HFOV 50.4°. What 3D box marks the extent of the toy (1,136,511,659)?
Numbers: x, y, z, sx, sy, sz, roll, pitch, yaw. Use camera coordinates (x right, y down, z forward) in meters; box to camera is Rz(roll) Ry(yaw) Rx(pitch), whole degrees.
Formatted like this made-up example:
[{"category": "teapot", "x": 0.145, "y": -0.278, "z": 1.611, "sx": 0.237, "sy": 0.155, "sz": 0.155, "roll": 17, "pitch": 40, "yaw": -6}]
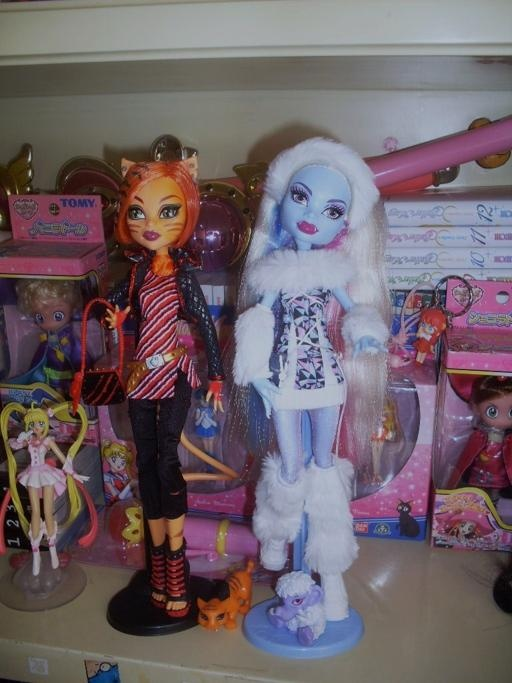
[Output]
[{"category": "toy", "x": 0.144, "y": 0.119, "z": 1.506, "sx": 1.091, "sy": 1.041, "sz": 0.599, "roll": 5, "pitch": 3, "yaw": 33}]
